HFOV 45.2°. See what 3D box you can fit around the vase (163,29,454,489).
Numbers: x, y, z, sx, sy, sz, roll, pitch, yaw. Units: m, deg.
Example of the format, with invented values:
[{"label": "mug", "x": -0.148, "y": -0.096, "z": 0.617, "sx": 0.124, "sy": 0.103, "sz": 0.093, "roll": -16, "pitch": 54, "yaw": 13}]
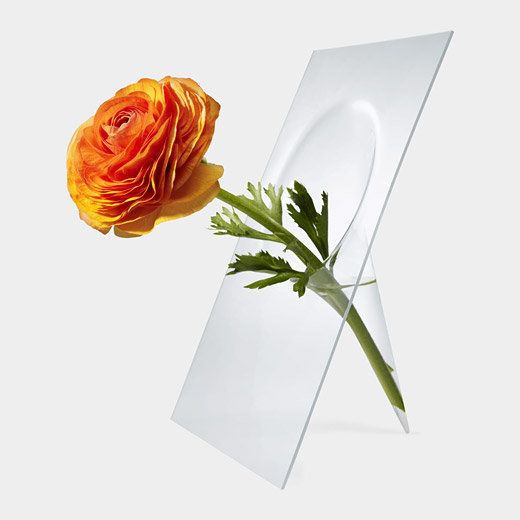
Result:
[{"label": "vase", "x": 0.120, "y": -0.045, "z": 1.481, "sx": 0.481, "sy": 0.422, "sz": 1.057, "roll": 8, "pitch": -96, "yaw": 43}]
